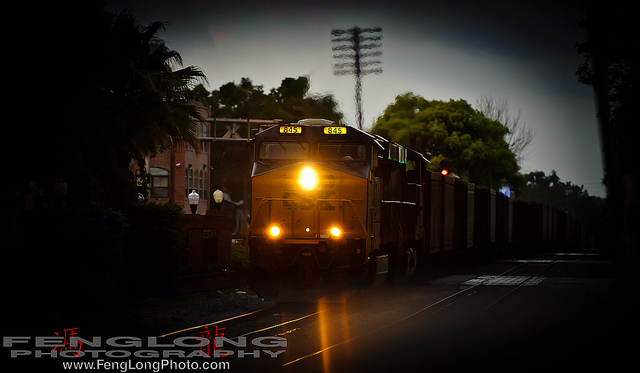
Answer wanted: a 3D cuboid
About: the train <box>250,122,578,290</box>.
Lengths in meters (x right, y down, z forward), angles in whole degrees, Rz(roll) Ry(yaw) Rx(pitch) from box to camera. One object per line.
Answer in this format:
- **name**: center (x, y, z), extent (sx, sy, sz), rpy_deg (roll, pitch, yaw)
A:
- **train**: center (8.250, 1.587, 31.983), extent (5.855, 6.588, 37.451), rpy_deg (0, -3, 22)
